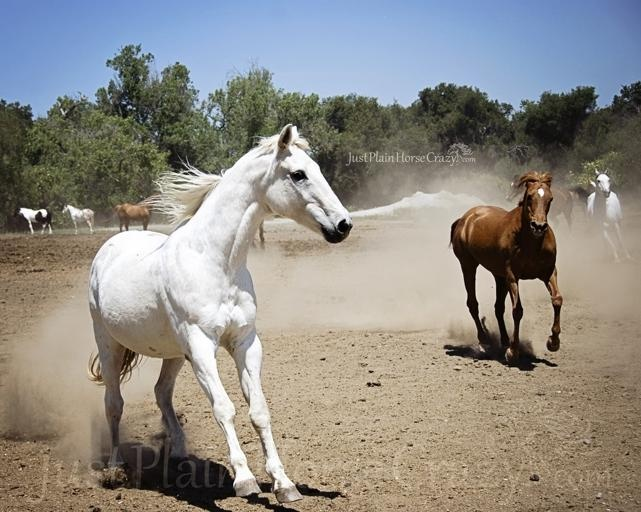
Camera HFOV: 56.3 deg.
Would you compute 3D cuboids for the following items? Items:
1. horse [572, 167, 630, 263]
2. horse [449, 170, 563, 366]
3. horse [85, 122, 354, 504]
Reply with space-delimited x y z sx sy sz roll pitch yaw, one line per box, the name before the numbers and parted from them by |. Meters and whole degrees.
horse | 7.564 -1.231 16.276 0.527 1.731 2.106 -7 -6 15
horse | 2.860 0.091 9.085 0.820 2.711 2.346 -3 10 -9
horse | -1.376 0.734 6.050 3.553 3.389 1.181 -8 -7 40
